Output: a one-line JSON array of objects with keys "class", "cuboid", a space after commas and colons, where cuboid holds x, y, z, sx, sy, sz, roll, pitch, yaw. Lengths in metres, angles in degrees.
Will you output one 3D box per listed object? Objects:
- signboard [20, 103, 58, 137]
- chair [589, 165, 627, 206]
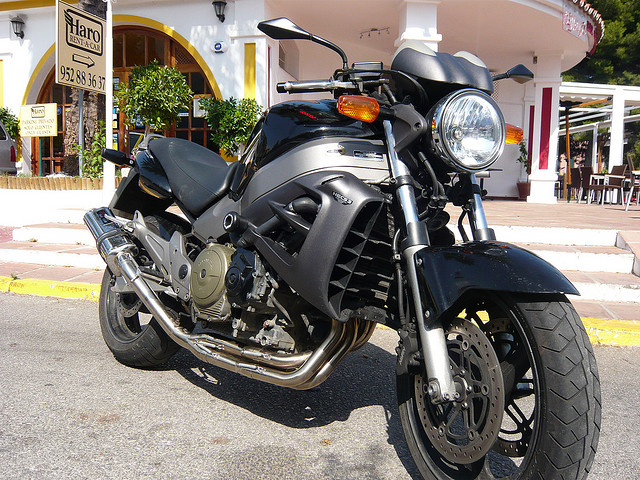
[{"class": "signboard", "cuboid": [-6.266, -2.669, 11.445, 0.899, 0.732, 0.094, 0, 0, 9]}, {"class": "chair", "cuboid": [8.039, -1.558, 14.203, 0.835, 1.122, 0.865, 1, 8, -5]}]
